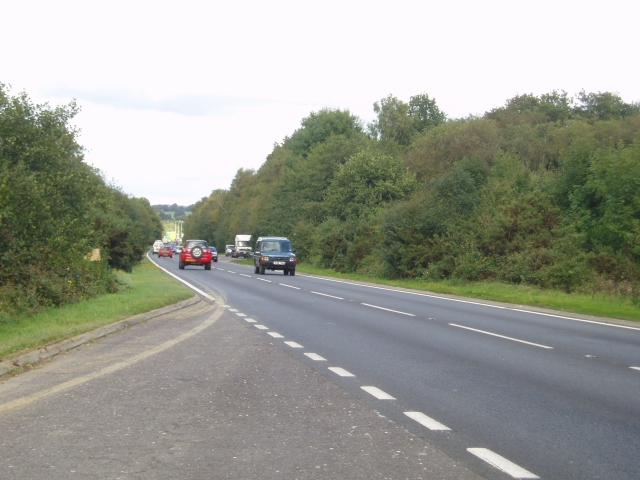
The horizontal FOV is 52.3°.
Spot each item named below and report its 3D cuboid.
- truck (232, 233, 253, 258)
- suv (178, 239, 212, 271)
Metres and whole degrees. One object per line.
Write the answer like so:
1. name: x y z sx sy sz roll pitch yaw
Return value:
1. truck: -11.881 0.974 105.135 2.935 4.309 7.630 1 -6 -13
2. suv: -9.895 1.175 51.886 1.538 1.769 3.260 1 6 -10
